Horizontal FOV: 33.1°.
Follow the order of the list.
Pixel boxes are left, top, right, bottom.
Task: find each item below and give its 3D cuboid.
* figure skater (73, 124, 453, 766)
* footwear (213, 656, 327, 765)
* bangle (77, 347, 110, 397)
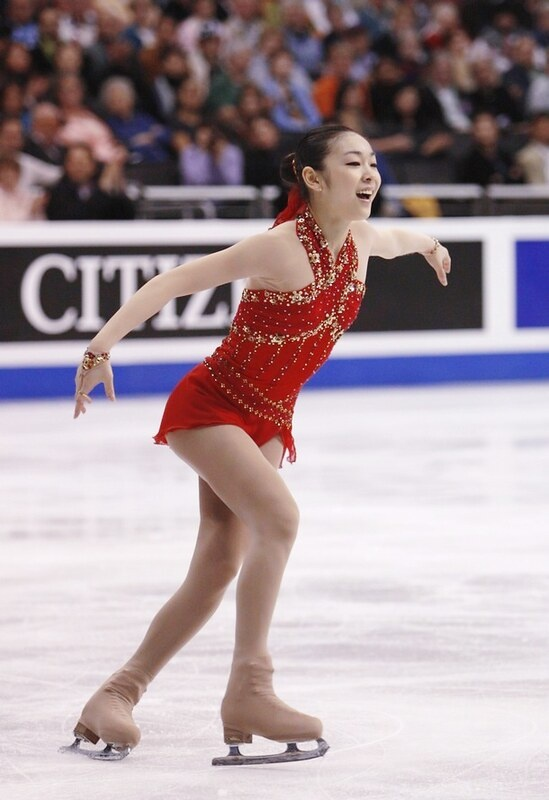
[{"bbox_3d":[-0.008,0.082,1.713,0.728,1.087,0.456,-2,-14,18],"label":"figure skater"},{"bbox_3d":[-0.007,0.491,1.485,0.206,0.181,0.056,-9,-20,19],"label":"footwear"},{"bbox_3d":[-0.287,-0.047,1.550,0.045,0.070,0.057,9,9,-31],"label":"bangle"}]
